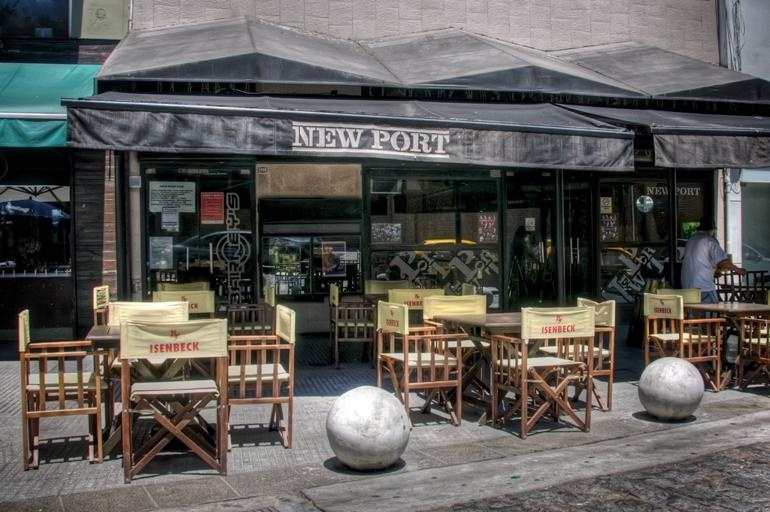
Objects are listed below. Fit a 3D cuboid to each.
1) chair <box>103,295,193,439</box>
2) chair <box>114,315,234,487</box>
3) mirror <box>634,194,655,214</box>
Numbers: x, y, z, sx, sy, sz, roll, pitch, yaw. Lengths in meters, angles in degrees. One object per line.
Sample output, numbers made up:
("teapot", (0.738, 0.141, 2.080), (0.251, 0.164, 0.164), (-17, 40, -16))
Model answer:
("chair", (-3.397, 1.299, 11.163), (1.620, 2.392, 1.186), (1, -1, -4))
("chair", (-2.692, 1.767, 10.365), (1.721, 2.687, 1.837), (0, -3, -9))
("mirror", (5.758, -1.161, 17.492), (0.437, 0.435, 0.019), (-3, 0, -12))
